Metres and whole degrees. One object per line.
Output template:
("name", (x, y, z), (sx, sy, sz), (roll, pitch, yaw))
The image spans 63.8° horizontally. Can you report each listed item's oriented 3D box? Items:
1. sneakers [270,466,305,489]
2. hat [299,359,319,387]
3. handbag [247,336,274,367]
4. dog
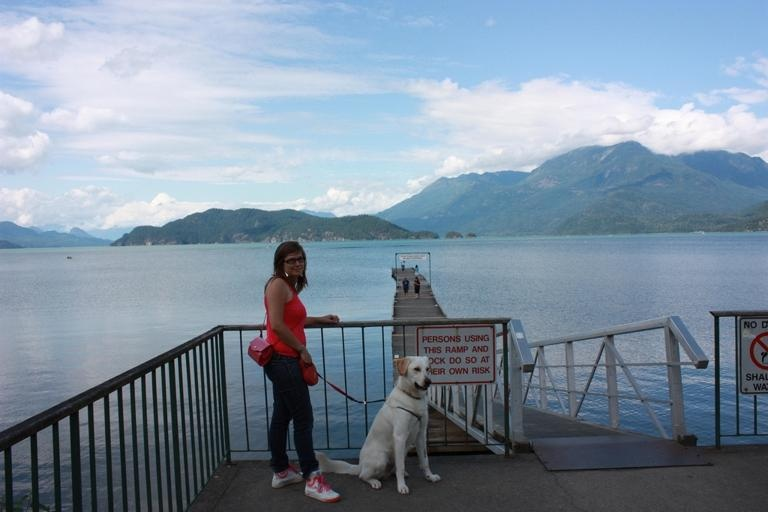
("sneakers", (-1.524, 3.332, 9.336), (0.592, 0.225, 0.224), (-1, 4, -33))
("hat", (-1.077, 1.715, 9.148), (0.330, 0.340, 0.370), (-3, 3, -16))
("handbag", (-1.835, 1.383, 8.940), (0.312, 0.361, 0.298), (-1, -1, -30))
("dog", (0.008, 2.567, 9.515), (2.063, 1.795, 1.067), (-9, -13, 33))
